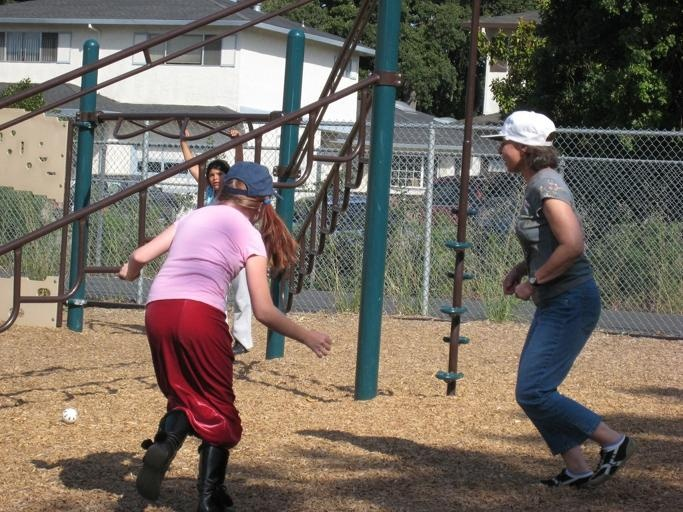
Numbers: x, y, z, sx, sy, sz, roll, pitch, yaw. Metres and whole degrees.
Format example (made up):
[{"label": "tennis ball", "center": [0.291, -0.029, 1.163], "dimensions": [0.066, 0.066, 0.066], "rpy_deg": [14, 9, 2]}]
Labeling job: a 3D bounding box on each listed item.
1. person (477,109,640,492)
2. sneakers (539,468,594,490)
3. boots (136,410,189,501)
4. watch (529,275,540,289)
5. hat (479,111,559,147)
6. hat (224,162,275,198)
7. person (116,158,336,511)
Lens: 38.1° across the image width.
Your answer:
[{"label": "person", "center": [1.719, 0.374, 7.933], "dimensions": [0.757, 2.952, 1.211], "rpy_deg": [-6, 14, -35]}, {"label": "sneakers", "center": [1.827, 1.784, 7.992], "dimensions": [0.410, 0.158, 0.140], "rpy_deg": [0, -1, 11]}, {"label": "boots", "center": [-1.376, 1.556, 7.618], "dimensions": [0.214, 0.635, 0.450], "rpy_deg": [30, 21, 13]}, {"label": "watch", "center": [1.517, 0.203, 7.781], "dimensions": [0.089, 0.059, 0.092], "rpy_deg": [24, 24, -45]}, {"label": "hat", "center": [1.496, -1.023, 8.064], "dimensions": [0.406, 0.209, 0.267], "rpy_deg": [0, 4, 0]}, {"label": "hat", "center": [-0.688, -0.563, 7.355], "dimensions": [0.235, 0.192, 0.333], "rpy_deg": [12, 14, 19]}, {"label": "person", "center": [-0.914, 0.643, 7.447], "dimensions": [1.275, 2.652, 0.865], "rpy_deg": [-1, 12, -15]}]
